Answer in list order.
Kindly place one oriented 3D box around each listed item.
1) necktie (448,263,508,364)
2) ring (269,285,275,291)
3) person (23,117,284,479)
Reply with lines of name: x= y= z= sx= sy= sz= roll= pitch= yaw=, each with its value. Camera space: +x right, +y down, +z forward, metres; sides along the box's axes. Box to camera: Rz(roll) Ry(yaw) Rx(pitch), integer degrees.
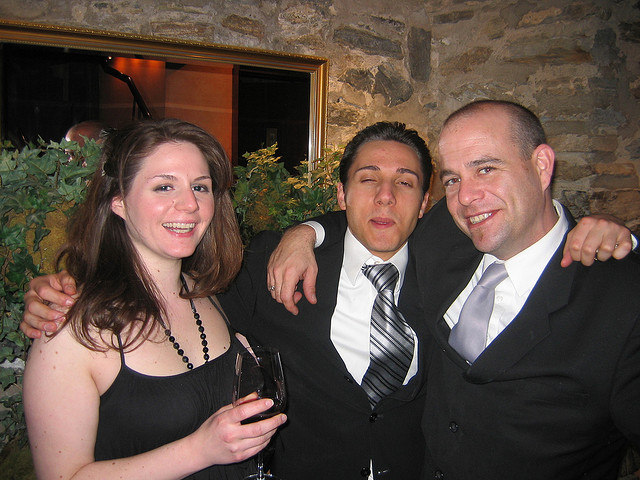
necktie: x=0.899 y=0.402 z=2.888 sx=0.279 sy=0.540 sz=0.180 roll=-2 pitch=7 yaw=-24
ring: x=-0.284 y=0.291 z=3.081 sx=0.030 sy=0.022 sz=0.030 roll=2 pitch=4 yaw=0
person: x=-0.836 y=0.225 z=2.728 sx=1.200 sy=1.728 sz=0.869 roll=0 pitch=7 yaw=-6
